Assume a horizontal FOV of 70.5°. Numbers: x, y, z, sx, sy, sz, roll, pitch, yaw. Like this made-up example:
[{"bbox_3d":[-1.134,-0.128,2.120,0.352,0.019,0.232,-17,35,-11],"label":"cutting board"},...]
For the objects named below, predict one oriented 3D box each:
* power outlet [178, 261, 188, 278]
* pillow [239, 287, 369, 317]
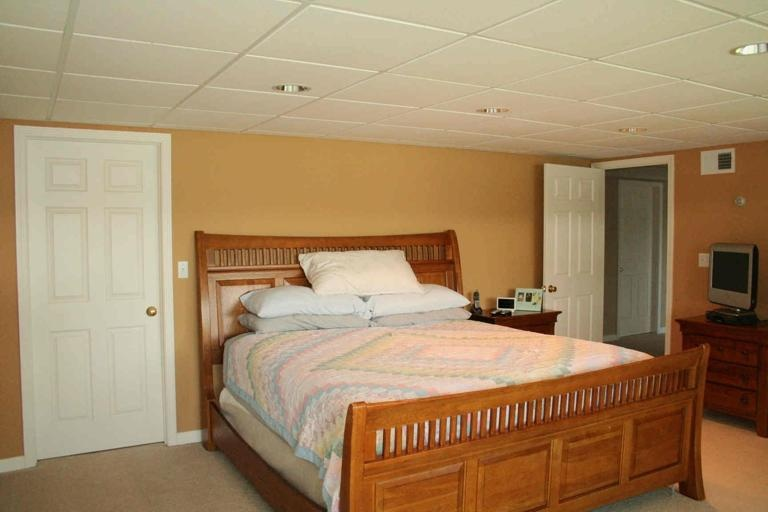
[{"bbox_3d":[-1.951,0.138,5.255,0.109,0.169,0.036,-4,11,-16],"label":"power outlet"},{"bbox_3d":[-0.731,0.451,5.085,0.793,0.145,0.446,1,3,-19],"label":"pillow"}]
